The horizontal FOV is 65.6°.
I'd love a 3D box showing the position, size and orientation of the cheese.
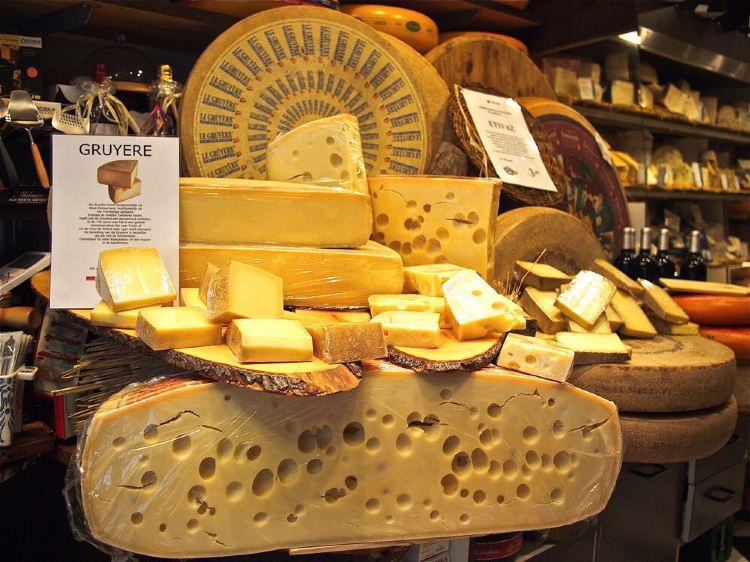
[{"bbox_3d":[0.086,0.070,1.223,1.312,0.857,0.545,-4,9,-16],"label":"cheese"}]
